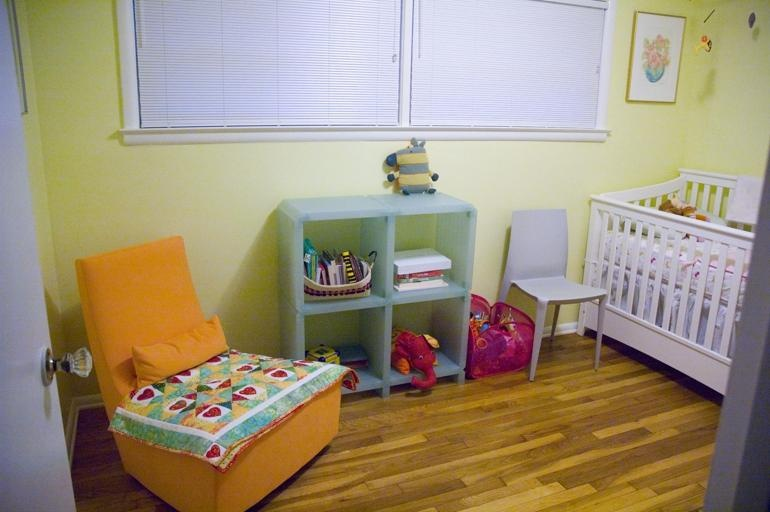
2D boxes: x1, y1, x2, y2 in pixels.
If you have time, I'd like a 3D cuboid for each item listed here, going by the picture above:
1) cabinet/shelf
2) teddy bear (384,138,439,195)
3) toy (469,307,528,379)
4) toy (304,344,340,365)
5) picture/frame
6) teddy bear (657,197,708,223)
[{"bbox_3d":[-0.100,0.223,3.306,1.179,1.139,0.488,-7,17,-26],"label":"cabinet/shelf"},{"bbox_3d":[0.173,-0.575,3.499,0.377,0.386,0.215,-3,3,-28],"label":"teddy bear"},{"bbox_3d":[0.735,0.524,3.762,0.418,0.385,0.543,-2,4,-9],"label":"toy"},{"bbox_3d":[-0.382,0.612,3.415,0.128,0.105,0.129,15,21,41],"label":"toy"},{"bbox_3d":[1.959,-1.469,3.947,0.647,0.739,0.051,-5,14,-28],"label":"picture/frame"},{"bbox_3d":[2.204,-0.324,3.997,0.276,0.102,0.275,10,16,-19],"label":"teddy bear"}]
